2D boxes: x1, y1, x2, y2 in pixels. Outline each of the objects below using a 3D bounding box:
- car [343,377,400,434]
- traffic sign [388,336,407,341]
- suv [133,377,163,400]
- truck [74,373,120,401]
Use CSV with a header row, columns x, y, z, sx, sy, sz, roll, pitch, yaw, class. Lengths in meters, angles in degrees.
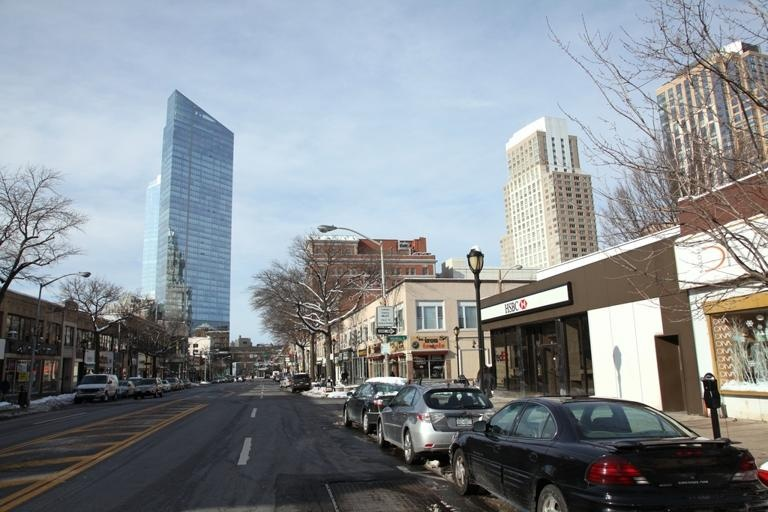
x,y,z,sx,sy,sz,roll,pitch,yaw,class
-0.392,4.961,20.246,1.262,0.984,2.772,4,-13,-14,car
0.980,5.911,43.588,0.745,0.389,1.422,-12,-20,32,traffic sign
-19.559,10.968,49.622,1.556,1.148,2.441,3,-26,-11,suv
-20.701,9.731,43.286,1.814,1.364,3.290,1,-23,-10,truck
